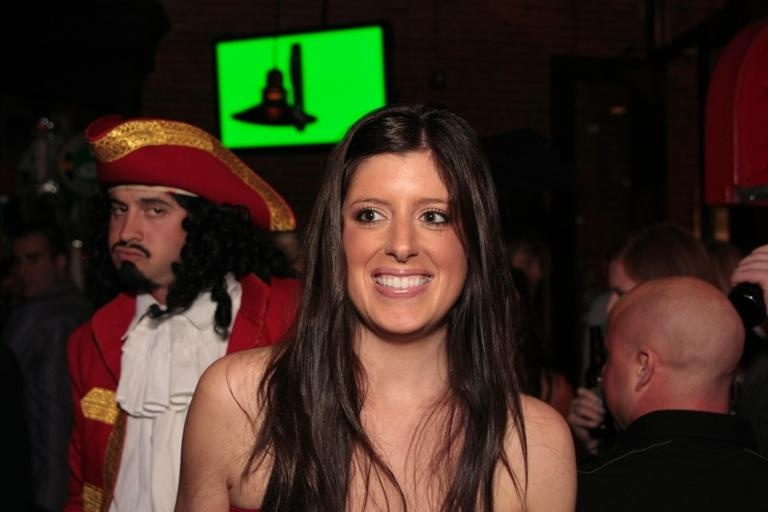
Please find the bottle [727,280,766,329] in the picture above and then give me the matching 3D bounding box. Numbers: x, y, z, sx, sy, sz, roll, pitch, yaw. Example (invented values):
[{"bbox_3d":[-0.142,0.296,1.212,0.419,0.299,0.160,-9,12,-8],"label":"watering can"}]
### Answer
[{"bbox_3d":[1.781,0.214,4.436,0.149,0.213,0.112,22,53,35],"label":"bottle"}]
